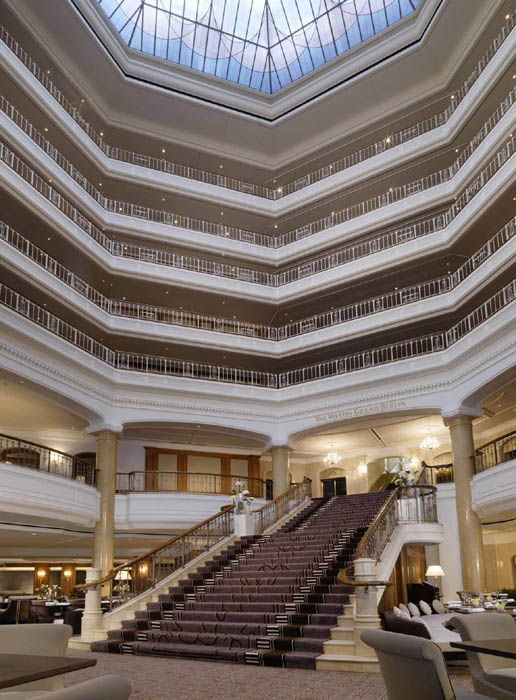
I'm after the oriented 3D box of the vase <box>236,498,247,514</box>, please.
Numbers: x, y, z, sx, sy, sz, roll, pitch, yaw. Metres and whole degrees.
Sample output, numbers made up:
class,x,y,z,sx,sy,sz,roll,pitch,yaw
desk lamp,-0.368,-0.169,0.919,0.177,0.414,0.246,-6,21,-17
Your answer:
class,x,y,z,sx,sy,sz,roll,pitch,yaw
vase,-0.498,4.577,15.737,0.317,0.420,0.153,-6,-17,12
